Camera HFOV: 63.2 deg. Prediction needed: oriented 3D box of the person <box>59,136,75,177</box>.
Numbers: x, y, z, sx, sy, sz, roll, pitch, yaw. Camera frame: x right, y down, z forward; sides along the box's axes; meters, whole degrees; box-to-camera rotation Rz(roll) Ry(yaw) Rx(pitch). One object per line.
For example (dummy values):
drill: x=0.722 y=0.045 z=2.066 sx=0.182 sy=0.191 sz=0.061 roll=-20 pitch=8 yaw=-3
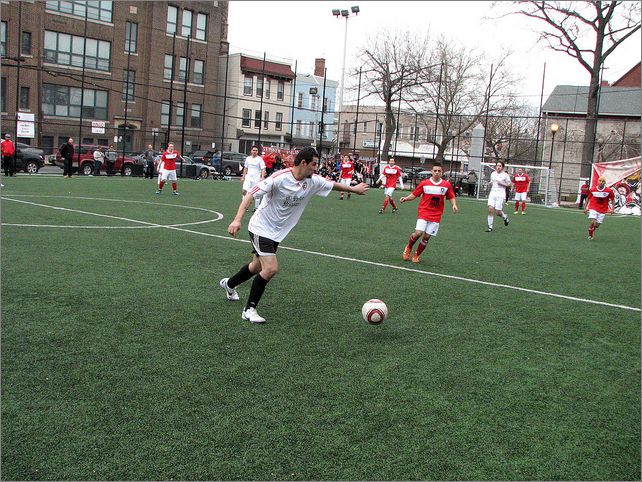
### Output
person: x=-12.731 y=-4.134 z=25.989 sx=0.534 sy=1.894 sz=1.540 roll=-3 pitch=13 yaw=-27

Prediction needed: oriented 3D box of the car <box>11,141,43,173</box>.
car: x=-15.098 y=-4.241 z=26.757 sx=1.722 sy=0.958 sz=1.047 roll=4 pitch=3 yaw=-27

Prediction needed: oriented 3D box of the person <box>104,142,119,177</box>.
person: x=-11.651 y=-4.439 z=28.875 sx=0.621 sy=1.580 sz=0.843 roll=-2 pitch=12 yaw=-22

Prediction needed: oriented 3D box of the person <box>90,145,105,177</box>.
person: x=-12.149 y=-4.329 z=28.341 sx=0.542 sy=1.562 sz=0.945 roll=-2 pitch=12 yaw=-23

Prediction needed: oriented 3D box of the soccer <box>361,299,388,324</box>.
soccer: x=0.543 y=0.734 z=5.590 sx=0.245 sy=0.249 sz=0.247 roll=4 pitch=0 yaw=38

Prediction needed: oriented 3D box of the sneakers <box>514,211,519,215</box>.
sneakers: x=8.355 y=-1.205 z=22.275 sx=0.123 sy=0.124 sz=0.293 roll=0 pitch=-2 yaw=25

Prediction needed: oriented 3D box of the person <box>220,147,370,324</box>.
person: x=-0.425 y=-0.109 z=5.883 sx=1.230 sy=1.904 sz=0.828 roll=1 pitch=12 yaw=-11

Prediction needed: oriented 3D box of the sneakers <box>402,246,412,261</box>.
sneakers: x=1.598 y=0.225 z=9.622 sx=0.136 sy=0.114 sz=0.323 roll=-35 pitch=17 yaw=40

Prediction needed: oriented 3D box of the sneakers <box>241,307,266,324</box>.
sneakers: x=-0.754 y=0.816 z=5.741 sx=0.307 sy=0.136 sz=0.122 roll=7 pitch=11 yaw=39

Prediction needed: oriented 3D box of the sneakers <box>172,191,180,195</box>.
sneakers: x=-5.525 y=-1.842 z=19.894 sx=0.110 sy=0.132 sz=0.317 roll=8 pitch=9 yaw=34

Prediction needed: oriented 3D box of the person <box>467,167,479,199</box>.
person: x=9.604 y=-3.690 z=33.087 sx=0.542 sy=1.669 sz=0.843 roll=6 pitch=12 yaw=17

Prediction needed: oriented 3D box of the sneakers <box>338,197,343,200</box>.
sneakers: x=0.903 y=-1.965 z=23.868 sx=0.190 sy=0.182 sz=0.091 roll=7 pitch=-8 yaw=-23

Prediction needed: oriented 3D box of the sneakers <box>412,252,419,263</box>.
sneakers: x=1.716 y=0.298 z=9.507 sx=0.073 sy=0.157 sz=0.222 roll=5 pitch=21 yaw=11

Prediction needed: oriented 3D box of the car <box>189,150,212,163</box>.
car: x=-8.689 y=-6.032 z=38.028 sx=1.107 sy=0.929 sz=1.957 roll=3 pitch=12 yaw=14
